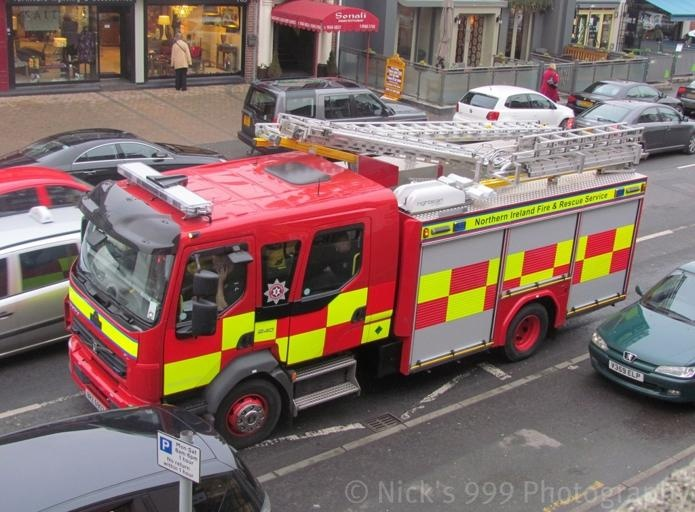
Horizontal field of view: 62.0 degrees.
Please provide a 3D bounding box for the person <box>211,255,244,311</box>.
[{"bbox_3d":[-1.343,0.293,6.506,0.325,0.666,0.084,-13,25,-36],"label":"person"}]

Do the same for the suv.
[{"bbox_3d":[0.008,-4.145,18.379,6.229,2.323,2.883,-9,26,-20],"label":"suv"}]

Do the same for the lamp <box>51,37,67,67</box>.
[{"bbox_3d":[-11.005,-7.891,22.172,0.456,1.014,0.122,-16,27,-41],"label":"lamp"}]

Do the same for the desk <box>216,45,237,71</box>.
[{"bbox_3d":[-5.394,-8.820,25.541,0.999,0.913,0.590,-12,50,-19],"label":"desk"}]

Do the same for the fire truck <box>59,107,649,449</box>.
[{"bbox_3d":[0.671,0.218,8.869,8.778,3.384,2.705,-10,23,-33],"label":"fire truck"}]
